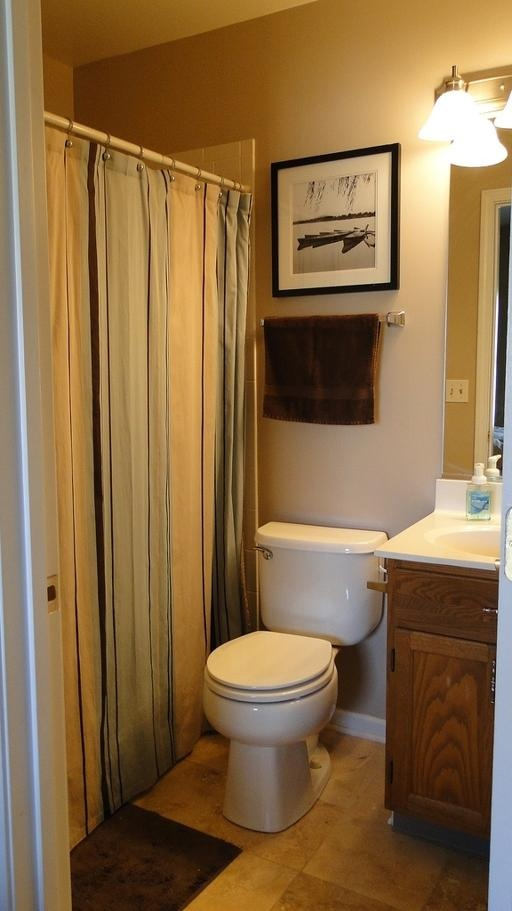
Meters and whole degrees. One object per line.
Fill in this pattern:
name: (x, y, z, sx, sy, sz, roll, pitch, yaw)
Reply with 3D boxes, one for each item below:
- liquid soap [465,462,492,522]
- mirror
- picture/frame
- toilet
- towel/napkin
liquid soap: (0.612, 0.103, 1.907, 0.066, 0.154, 0.056, 0, 3, -6)
mirror: (0.642, -0.343, 1.894, 0.085, 0.733, 0.074, 1, 3, 25)
picture/frame: (0.257, -0.723, 2.123, 0.354, 0.479, 0.016, 6, 10, 38)
toilet: (0.034, 0.577, 2.031, 0.412, 0.913, 0.693, 1, 2, 21)
towel/napkin: (0.193, -0.264, 2.172, 0.397, 0.329, 0.050, 2, 4, 31)
